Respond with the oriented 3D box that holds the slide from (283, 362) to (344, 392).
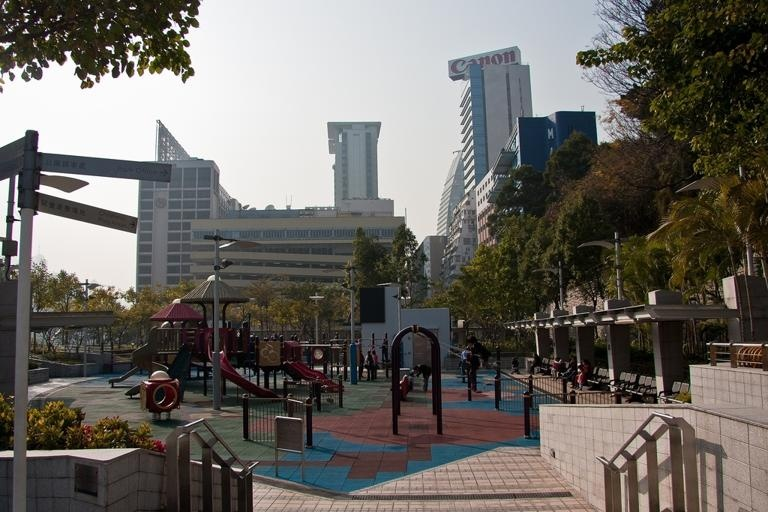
[{"bbox_3d":[-3.563,6.108,34.570,2.634,1.020,1.505,3,-7,31],"label":"slide"}]
